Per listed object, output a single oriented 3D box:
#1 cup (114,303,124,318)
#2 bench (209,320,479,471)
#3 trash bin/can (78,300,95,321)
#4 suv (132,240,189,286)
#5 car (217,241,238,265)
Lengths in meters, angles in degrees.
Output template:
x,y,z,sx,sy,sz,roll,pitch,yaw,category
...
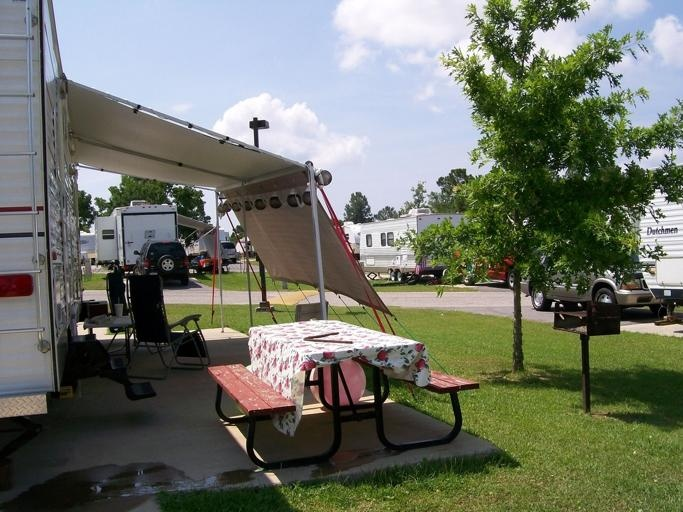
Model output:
x,y,z,sx,sy,sz,roll,pitch,yaw,category
-3.413,0.827,8.596,0.161,0.209,0.170,-1,1,0,cup
-0.090,1.270,5.369,2.409,1.081,1.658,0,2,-3,bench
-3.812,0.838,8.457,0.252,0.344,0.706,-1,2,-24,trash bin/can
-7.534,0.193,23.404,1.840,1.772,3.541,-1,5,-26,suv
-8.558,-0.093,42.201,1.606,1.530,2.985,-1,6,-12,car
